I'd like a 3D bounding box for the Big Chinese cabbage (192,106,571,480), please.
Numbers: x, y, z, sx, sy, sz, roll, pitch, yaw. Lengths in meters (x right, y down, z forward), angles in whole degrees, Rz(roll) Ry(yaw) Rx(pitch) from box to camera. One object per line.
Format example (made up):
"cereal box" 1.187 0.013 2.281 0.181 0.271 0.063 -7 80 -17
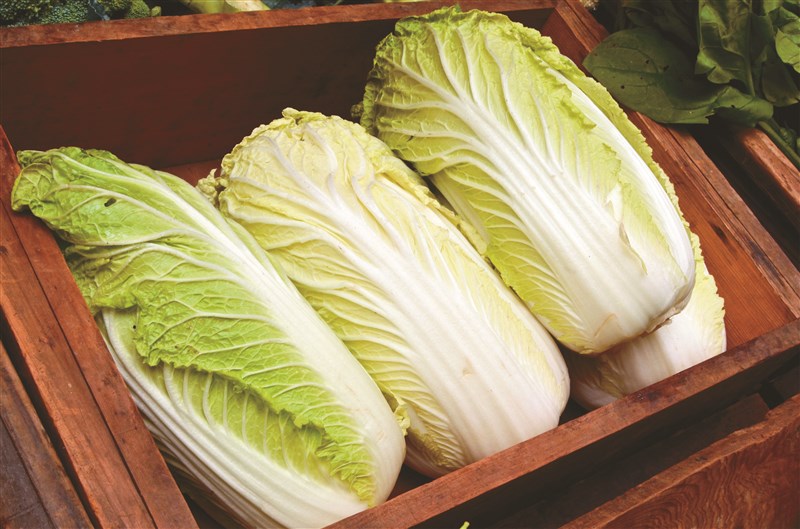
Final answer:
"Big Chinese cabbage" -0.005 0.078 3.033 0.888 0.569 1.430 -35 79 -4

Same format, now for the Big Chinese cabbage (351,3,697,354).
"Big Chinese cabbage" 0.402 -0.310 3.113 0.898 0.502 1.386 -36 86 -11
